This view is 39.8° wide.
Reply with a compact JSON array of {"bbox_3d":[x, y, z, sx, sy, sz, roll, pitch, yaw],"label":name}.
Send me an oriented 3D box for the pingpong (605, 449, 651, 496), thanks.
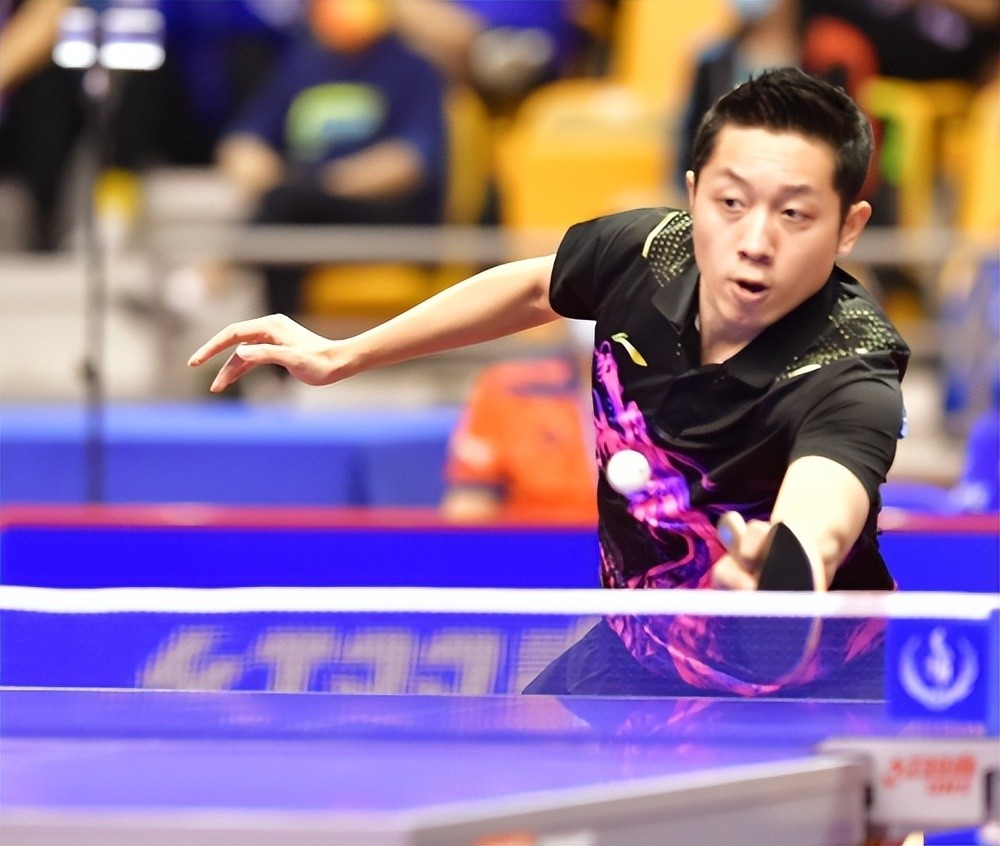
[{"bbox_3d":[0.172,0.060,1.928,0.062,0.071,0.060,-6,20,-2],"label":"pingpong"}]
